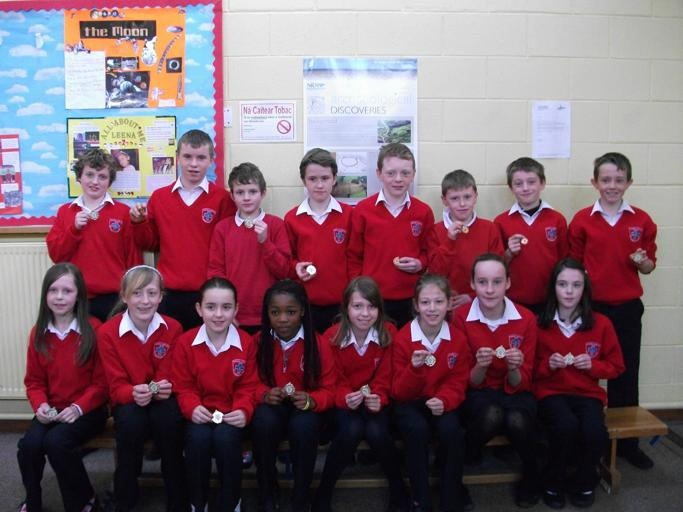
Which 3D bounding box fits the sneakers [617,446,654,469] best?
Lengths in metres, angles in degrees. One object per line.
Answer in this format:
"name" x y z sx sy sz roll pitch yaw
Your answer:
"sneakers" 1.814 1.234 3.952 0.077 0.087 0.211 -21 26 -30
